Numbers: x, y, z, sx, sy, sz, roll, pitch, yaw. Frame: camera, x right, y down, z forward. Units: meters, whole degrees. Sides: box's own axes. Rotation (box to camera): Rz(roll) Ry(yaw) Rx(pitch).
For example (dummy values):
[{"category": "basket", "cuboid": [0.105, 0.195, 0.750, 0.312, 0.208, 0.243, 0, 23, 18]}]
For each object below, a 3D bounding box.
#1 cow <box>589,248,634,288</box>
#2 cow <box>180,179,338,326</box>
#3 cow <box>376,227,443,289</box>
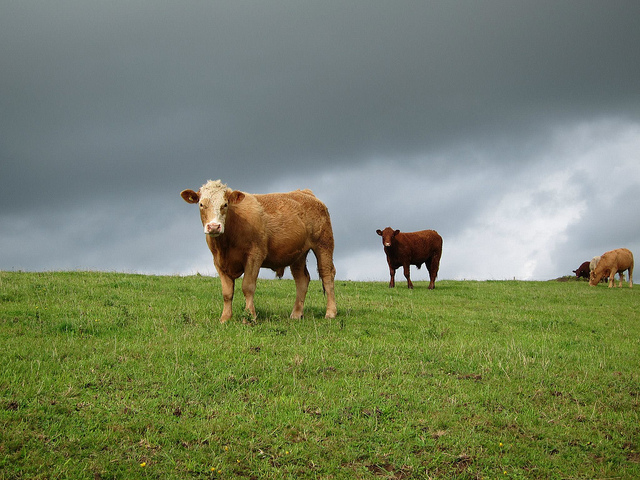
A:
[{"category": "cow", "cuboid": [14.529, 1.383, 36.592, 1.758, 1.887, 3.715, 2, 2, 41]}, {"category": "cow", "cuboid": [-1.503, 0.440, 19.382, 1.745, 3.930, 5.343, 0, 2, 39]}, {"category": "cow", "cuboid": [4.017, 0.823, 32.350, 3.275, 2.933, 1.227, 0, 7, -28]}]
